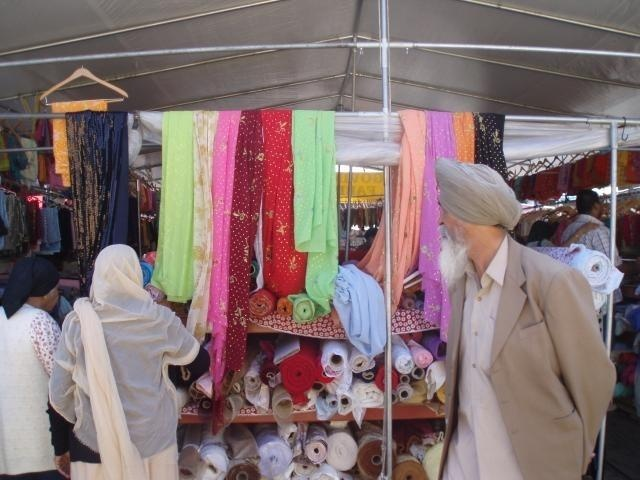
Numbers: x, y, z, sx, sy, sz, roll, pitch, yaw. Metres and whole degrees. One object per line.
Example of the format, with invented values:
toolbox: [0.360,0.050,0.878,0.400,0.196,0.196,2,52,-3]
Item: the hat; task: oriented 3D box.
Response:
hat: [1.015,-0.297,4.051,0.336,0.589,0.249,-10,-12,1]
